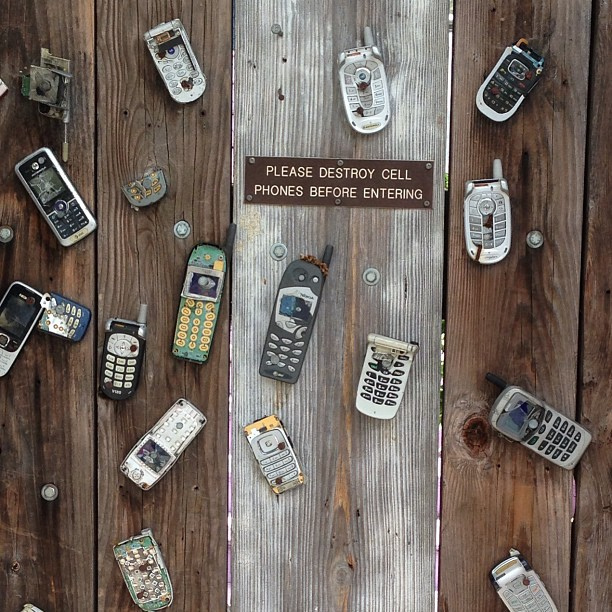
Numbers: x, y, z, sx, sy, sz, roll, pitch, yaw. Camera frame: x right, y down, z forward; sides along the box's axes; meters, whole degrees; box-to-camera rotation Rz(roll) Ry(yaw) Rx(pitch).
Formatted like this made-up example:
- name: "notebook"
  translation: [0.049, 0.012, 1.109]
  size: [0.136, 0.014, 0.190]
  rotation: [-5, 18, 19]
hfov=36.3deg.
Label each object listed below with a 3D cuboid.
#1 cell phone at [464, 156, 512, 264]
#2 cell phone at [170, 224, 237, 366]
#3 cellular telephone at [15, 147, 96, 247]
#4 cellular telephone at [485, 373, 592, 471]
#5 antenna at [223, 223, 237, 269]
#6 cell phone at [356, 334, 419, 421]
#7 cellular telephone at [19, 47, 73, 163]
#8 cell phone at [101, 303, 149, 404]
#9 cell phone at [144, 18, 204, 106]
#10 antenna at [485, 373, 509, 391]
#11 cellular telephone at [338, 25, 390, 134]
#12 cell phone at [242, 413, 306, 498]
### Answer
- name: "cell phone"
  translation: [0.413, -0.198, 2.131]
  size: [0.098, 0.044, 0.187]
  rotation: [-4, 84, 1]
- name: "cell phone"
  translation: [-0.234, -0.033, 2.164]
  size: [0.087, 0.065, 0.413]
  rotation: [9, 53, 3]
- name: "cellular telephone"
  translation: [-0.588, -0.251, 2.266]
  size: [0.069, 0.321, 0.229]
  rotation: [-2, 93, -5]
- name: "cellular telephone"
  translation: [0.520, 0.272, 2.120]
  size: [0.281, 0.083, 0.148]
  rotation: [42, 96, -3]
- name: "antenna"
  translation: [-0.174, -0.152, 2.142]
  size: [0.017, 0.026, 0.123]
  rotation: [5, 79, 6]
- name: "cell phone"
  translation: [0.174, 0.152, 2.125]
  size: [0.106, 0.065, 0.220]
  rotation: [9, 42, 19]
- name: "cellular telephone"
  translation: [-0.588, -0.470, 2.132]
  size: [0.101, 0.072, 0.239]
  rotation: [6, 84, 2]
- name: "cell phone"
  translation: [-0.418, 0.095, 2.138]
  size: [0.091, 0.314, 0.039]
  rotation: [4, 40, -17]
- name: "cell phone"
  translation: [-0.292, -0.539, 2.131]
  size: [0.093, 0.052, 0.240]
  rotation: [-21, 63, -10]
- name: "antenna"
  translation: [0.435, 0.174, 2.147]
  size: [0.036, 0.012, 0.013]
  rotation: [39, 69, -7]
- name: "cellular telephone"
  translation: [0.131, -0.515, 2.159]
  size: [0.098, 0.087, 0.338]
  rotation: [-2, 61, -1]
- name: "cell phone"
  translation: [-0.072, 0.341, 2.150]
  size: [0.082, 0.032, 0.203]
  rotation: [-30, 84, -2]
